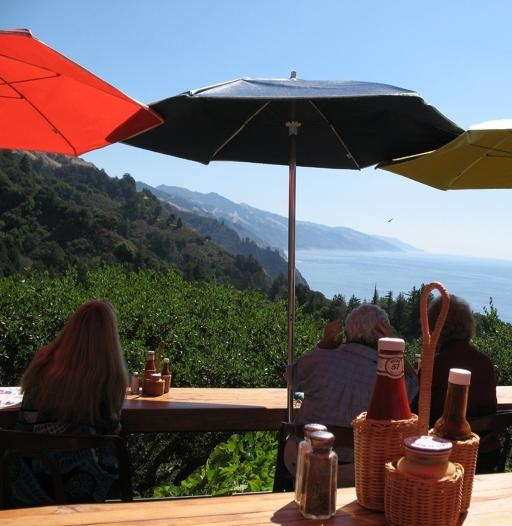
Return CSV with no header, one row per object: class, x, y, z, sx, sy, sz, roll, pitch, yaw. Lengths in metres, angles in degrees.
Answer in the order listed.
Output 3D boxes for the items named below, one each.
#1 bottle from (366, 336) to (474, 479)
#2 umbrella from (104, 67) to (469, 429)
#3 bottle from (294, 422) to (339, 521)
bottle,0.333,0.354,1.294,0.188,0.344,0.112,3,1,7
umbrella,0.145,-0.010,3.315,1.634,1.784,1.794,12,10,36
bottle,0.148,0.504,1.314,0.109,0.199,0.142,3,1,19
